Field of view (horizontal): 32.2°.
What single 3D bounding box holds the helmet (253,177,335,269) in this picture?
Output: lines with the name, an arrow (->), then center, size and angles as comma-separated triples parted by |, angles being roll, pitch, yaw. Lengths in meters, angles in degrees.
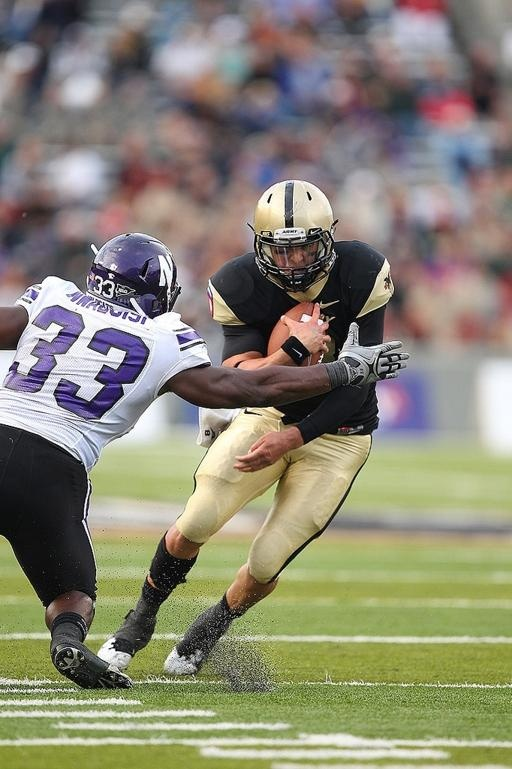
helmet -> 0.149, -0.587, 3.133 | 0.313, 0.282, 0.360 | -3, 31, 8

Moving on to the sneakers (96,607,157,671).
sneakers -> -0.382, 0.806, 2.892 | 0.106, 0.118, 0.275 | 32, 17, 2

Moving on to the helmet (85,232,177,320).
helmet -> -0.376, -0.321, 2.572 | 0.271, 0.211, 0.311 | 15, 13, 11

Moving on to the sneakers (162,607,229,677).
sneakers -> -0.151, 0.813, 2.941 | 0.102, 0.104, 0.372 | 39, 27, 10
